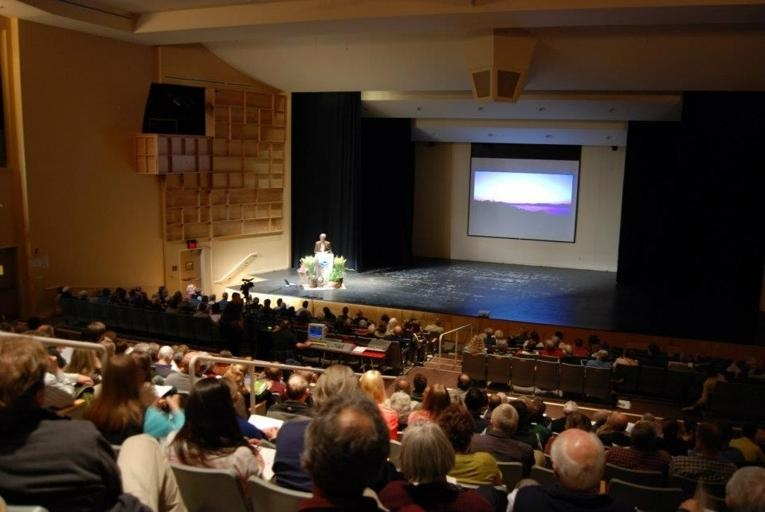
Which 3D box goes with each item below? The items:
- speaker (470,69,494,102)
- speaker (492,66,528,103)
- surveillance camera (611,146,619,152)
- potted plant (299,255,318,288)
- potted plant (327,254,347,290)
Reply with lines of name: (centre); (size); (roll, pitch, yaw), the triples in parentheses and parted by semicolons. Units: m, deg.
speaker: (2.419, -4.116, 13.359); (0.569, 0.643, 0.649); (-5, 10, -27)
speaker: (3.073, -4.148, 13.371); (0.955, 0.807, 1.075); (13, 18, 11)
surveillance camera: (8.489, -3.895, 20.132); (0.265, 0.165, 0.061); (7, 23, 23)
potted plant: (-2.234, 0.478, 16.622); (0.341, 0.881, 0.707); (-6, 12, -40)
potted plant: (-1.396, 0.491, 16.736); (0.451, 0.888, 0.790); (2, 9, -4)
